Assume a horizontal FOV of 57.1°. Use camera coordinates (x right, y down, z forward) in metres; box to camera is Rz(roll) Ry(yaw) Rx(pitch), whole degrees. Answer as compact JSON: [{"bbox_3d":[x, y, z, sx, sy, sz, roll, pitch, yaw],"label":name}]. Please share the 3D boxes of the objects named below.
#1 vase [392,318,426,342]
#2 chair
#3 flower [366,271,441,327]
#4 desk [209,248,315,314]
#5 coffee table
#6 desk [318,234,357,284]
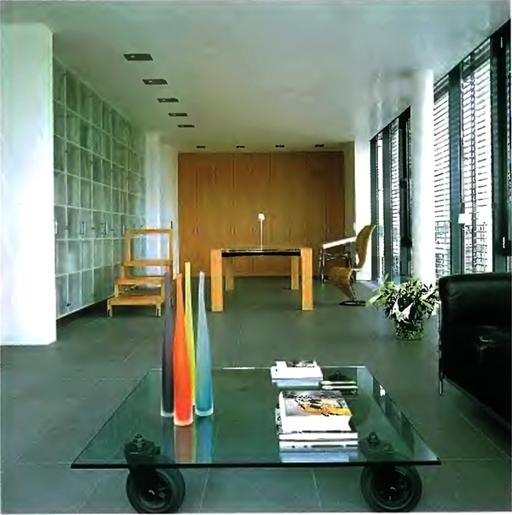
[{"bbox_3d":[1.113,0.512,3.442,0.148,0.135,0.152,-4,-7,43],"label":"vase"},{"bbox_3d":[1.129,0.078,5.635,0.547,0.924,1.202,0,9,11],"label":"chair"},{"bbox_3d":[1.039,0.328,3.290,0.419,0.362,0.432,2,9,23],"label":"flower"},{"bbox_3d":[0.051,0.133,5.088,0.834,0.555,0.914,0,0,1],"label":"desk"},{"bbox_3d":[0.019,0.578,1.525,0.962,0.337,0.654,-1,9,1],"label":"coffee table"},{"bbox_3d":[1.131,-0.024,6.697,0.476,0.202,0.816,-2,-42,10],"label":"desk"}]
